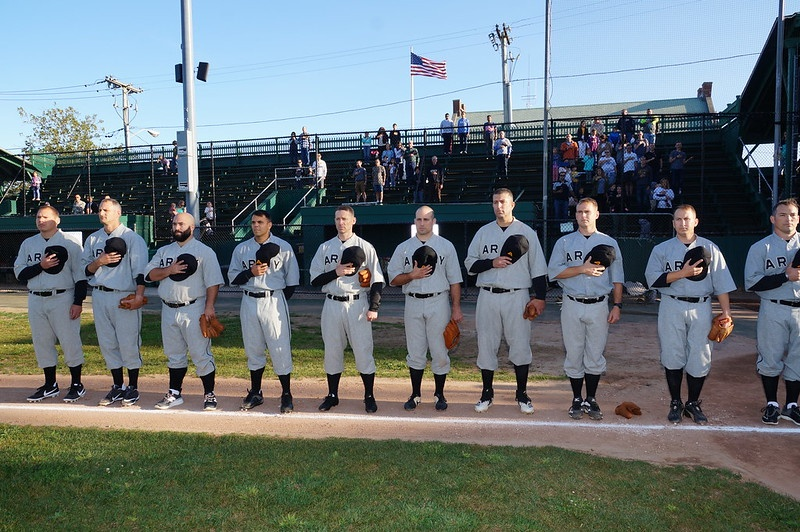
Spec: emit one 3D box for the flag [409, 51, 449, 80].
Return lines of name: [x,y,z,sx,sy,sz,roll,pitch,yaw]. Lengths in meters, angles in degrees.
flag: [1.178,-8.526,37.487,0.890,0.913,1.558,2,7,38]

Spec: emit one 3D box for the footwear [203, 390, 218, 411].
footwear: [-3.141,2.209,14.404,0.249,0.261,0.665,1,-5,-17]

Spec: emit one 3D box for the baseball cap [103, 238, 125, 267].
baseball cap: [-4.727,-0.220,14.494,0.329,0.471,0.239,1,-13,-22]

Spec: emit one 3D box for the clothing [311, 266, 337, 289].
clothing: [-1.236,0.187,14.241,0.482,0.302,0.272,3,8,42]

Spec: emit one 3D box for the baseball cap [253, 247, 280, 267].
baseball cap: [-2.171,-0.199,14.257,0.407,0.352,0.195,-3,6,-11]

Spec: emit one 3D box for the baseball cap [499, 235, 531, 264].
baseball cap: [1.854,-0.276,14.149,0.517,0.451,0.228,-6,6,-29]

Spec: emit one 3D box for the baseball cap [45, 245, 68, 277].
baseball cap: [-5.749,-0.106,14.577,0.380,0.452,0.171,18,-28,-32]

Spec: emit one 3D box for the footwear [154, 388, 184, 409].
footwear: [-3.803,2.209,14.536,0.209,0.238,0.528,0,-5,37]

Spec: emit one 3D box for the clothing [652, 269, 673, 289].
clothing: [4.173,0.219,13.967,0.097,0.232,0.228,9,-19,-17]

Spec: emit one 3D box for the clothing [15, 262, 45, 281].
clothing: [-6.221,0.104,14.640,0.599,0.306,0.232,1,7,32]

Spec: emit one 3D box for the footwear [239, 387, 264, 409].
footwear: [-2.455,2.176,14.465,0.234,0.283,0.508,3,8,42]

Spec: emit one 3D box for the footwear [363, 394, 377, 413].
footwear: [-0.489,2.206,14.358,0.218,0.303,0.387,-3,6,-4]

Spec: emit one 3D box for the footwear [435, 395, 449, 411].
footwear: [0.677,2.242,14.371,0.214,0.169,0.430,-1,-3,1]

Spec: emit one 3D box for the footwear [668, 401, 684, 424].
footwear: [4.380,2.288,13.890,0.182,0.322,0.229,0,6,26]

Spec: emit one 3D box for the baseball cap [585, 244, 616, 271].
baseball cap: [3.232,-0.173,14.066,0.442,0.364,0.201,-2,6,8]

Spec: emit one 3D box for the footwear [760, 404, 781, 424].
footwear: [5.905,2.314,13.893,0.271,0.300,0.358,0,6,25]

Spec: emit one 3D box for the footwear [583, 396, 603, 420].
footwear: [3.101,2.263,14.094,0.320,0.313,0.290,-1,6,11]

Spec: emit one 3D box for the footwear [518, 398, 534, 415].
footwear: [2.078,2.261,14.240,0.282,0.199,0.282,-3,6,-8]

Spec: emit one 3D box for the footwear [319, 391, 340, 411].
footwear: [-1.173,2.209,14.435,0.414,0.249,0.267,-5,6,-27]

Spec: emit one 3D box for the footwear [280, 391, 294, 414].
footwear: [-1.866,2.205,14.340,0.225,0.292,0.410,-3,6,-8]

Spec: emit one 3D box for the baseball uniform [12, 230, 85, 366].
baseball uniform: [-5.866,0.734,14.795,1.172,2.578,0.741,-4,-3,-4]

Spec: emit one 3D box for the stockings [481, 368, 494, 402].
stockings: [1.427,1.943,14.460,0.213,0.589,0.426,-2,6,4]

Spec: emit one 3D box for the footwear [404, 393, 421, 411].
footwear: [0.195,2.217,14.409,0.252,0.226,0.248,-2,6,0]

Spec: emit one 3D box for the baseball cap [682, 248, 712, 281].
baseball cap: [4.756,-0.053,13.873,0.364,0.533,0.178,-8,-16,26]

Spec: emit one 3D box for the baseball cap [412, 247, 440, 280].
baseball cap: [0.406,-0.092,14.233,0.412,0.467,0.214,-2,6,0]

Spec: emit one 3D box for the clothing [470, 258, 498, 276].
clothing: [1.326,0.010,14.191,0.232,0.249,0.482,-7,7,-38]

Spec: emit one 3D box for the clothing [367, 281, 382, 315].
clothing: [-0.409,0.481,14.344,0.236,0.455,0.498,-3,6,-1]

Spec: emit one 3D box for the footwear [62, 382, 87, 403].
footwear: [-5.512,2.098,14.707,0.224,0.284,0.379,-1,6,13]

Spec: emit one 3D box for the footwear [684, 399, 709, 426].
footwear: [4.755,2.297,13.931,0.296,0.336,0.352,-5,6,-25]

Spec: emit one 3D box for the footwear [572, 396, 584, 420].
footwear: [2.849,2.260,14.099,0.223,0.303,0.310,-1,6,13]

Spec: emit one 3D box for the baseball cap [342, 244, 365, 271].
baseball cap: [-0.757,-0.140,14.200,0.288,0.415,0.256,14,-27,-18]

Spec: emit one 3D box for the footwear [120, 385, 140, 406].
footwear: [-4.513,2.134,14.566,0.308,0.295,0.305,-4,6,-19]
